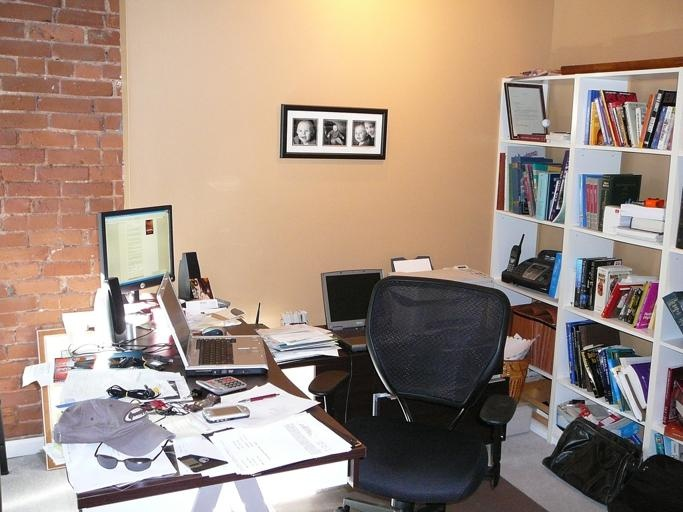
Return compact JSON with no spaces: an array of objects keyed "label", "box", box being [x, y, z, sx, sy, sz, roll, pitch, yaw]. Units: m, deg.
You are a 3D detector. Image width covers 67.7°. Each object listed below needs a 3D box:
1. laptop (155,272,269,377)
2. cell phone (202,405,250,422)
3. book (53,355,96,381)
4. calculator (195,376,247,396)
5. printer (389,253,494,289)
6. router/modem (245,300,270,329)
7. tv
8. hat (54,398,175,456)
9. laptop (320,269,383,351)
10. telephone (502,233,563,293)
[{"label":"laptop","box":[-0.591,0.228,2.384,0.456,0.335,0.551,-4,10,-11]},{"label":"cell phone","box":[-0.433,0.574,1.890,0.117,0.019,0.066,-2,11,-19]},{"label":"book","box":[-1.294,0.521,2.461,0.190,0.047,0.203,-3,5,-40]},{"label":"calculator","box":[-0.496,0.543,2.132,0.098,0.025,0.094,-8,15,-36]},{"label":"printer","box":[0.642,0.103,3.298,0.502,0.236,0.290,0,16,-1]},{"label":"router/modem","box":[-0.542,0.385,3.264,0.154,0.210,0.152,10,1,-11]},{"label":"tv","box":[-1.152,-0.006,2.846,0.188,0.561,0.553,5,8,36]},{"label":"hat","box":[-0.775,0.582,1.731,0.288,0.085,0.186,8,6,7]},{"label":"laptop","box":[0.081,0.321,3.267,0.427,0.341,0.448,-3,8,-26]},{"label":"telephone","box":[1.517,0.049,3.820,0.358,0.417,0.464,2,7,-22]}]
